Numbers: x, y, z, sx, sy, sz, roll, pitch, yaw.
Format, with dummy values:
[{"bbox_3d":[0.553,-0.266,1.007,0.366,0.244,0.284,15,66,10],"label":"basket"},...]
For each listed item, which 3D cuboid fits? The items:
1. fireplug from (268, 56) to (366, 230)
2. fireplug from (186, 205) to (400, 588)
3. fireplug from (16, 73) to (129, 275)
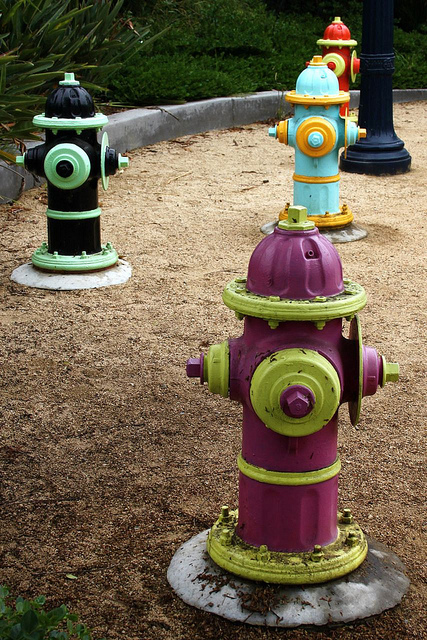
[{"bbox_3d":[0.676,-1.160,6.952,0.604,1.123,0.452,0,9,2],"label":"fireplug"},{"bbox_3d":[0.223,0.215,3.249,0.513,1.134,0.451,-6,11,-32],"label":"fireplug"},{"bbox_3d":[-0.791,-0.829,5.995,0.608,1.118,0.435,-2,10,-14],"label":"fireplug"}]
